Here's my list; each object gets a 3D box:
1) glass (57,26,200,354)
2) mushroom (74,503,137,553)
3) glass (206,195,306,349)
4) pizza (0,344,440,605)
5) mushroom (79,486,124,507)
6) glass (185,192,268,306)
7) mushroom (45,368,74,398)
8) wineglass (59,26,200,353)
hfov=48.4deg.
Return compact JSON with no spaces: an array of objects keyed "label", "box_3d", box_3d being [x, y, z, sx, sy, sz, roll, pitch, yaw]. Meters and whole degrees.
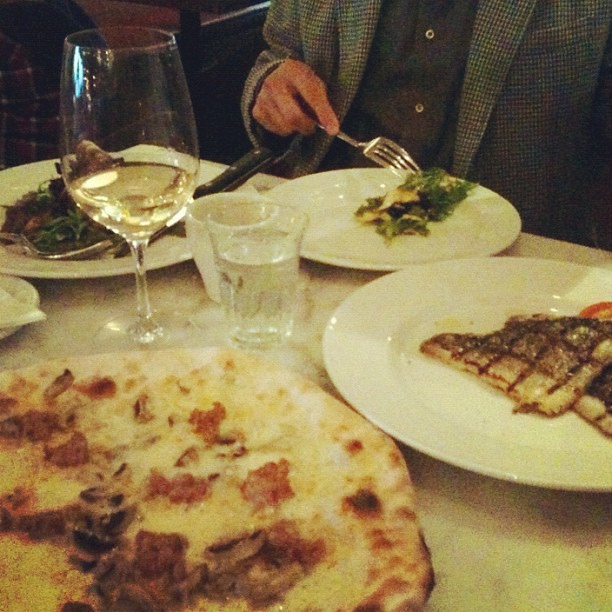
[{"label":"glass","box_3d":[-0.278,-0.158,1.016,0.225,0.479,0.192,-17,33,-34]},{"label":"mushroom","box_3d":[-0.210,0.233,0.709,0.064,0.019,0.047,-4,34,-8]},{"label":"glass","box_3d":[-0.069,-0.048,1.070,0.163,0.230,0.138,-19,30,-30]},{"label":"pizza","box_3d":[-0.115,0.177,0.773,0.444,0.078,0.408,-6,33,-11]},{"label":"mushroom","box_3d":[-0.222,0.206,0.734,0.028,0.006,0.024,6,22,16]},{"label":"glass","box_3d":[-0.130,-0.099,1.152,0.137,0.170,0.152,-16,27,-33]},{"label":"mushroom","box_3d":[-0.304,0.097,0.840,0.023,0.008,0.037,43,59,9]},{"label":"wineglass","box_3d":[-0.229,-0.158,1.018,0.225,0.481,0.191,-17,33,-34]}]
